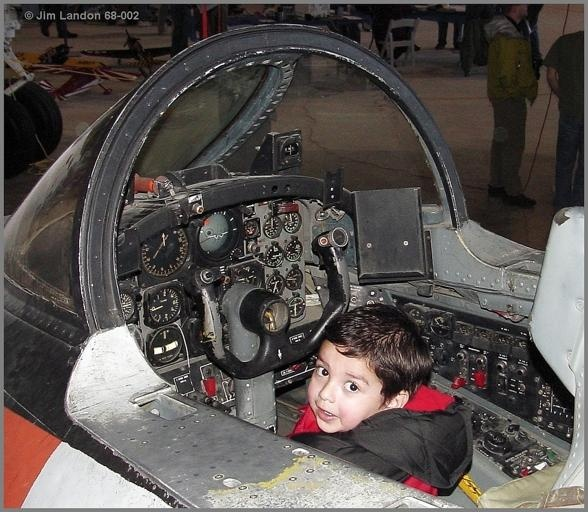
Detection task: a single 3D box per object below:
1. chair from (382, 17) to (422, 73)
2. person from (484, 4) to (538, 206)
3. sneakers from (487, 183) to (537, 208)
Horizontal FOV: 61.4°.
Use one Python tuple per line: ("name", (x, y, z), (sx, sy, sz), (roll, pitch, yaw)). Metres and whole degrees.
("chair", (2.279, -4.434, 10.582), (0.887, 0.984, 0.922), (28, 53, 30))
("person", (2.486, -1.657, 5.660), (0.443, 2.175, 0.746), (-14, 30, -13))
("sneakers", (2.629, -0.750, 6.044), (0.598, 0.220, 0.208), (14, 26, 25))
